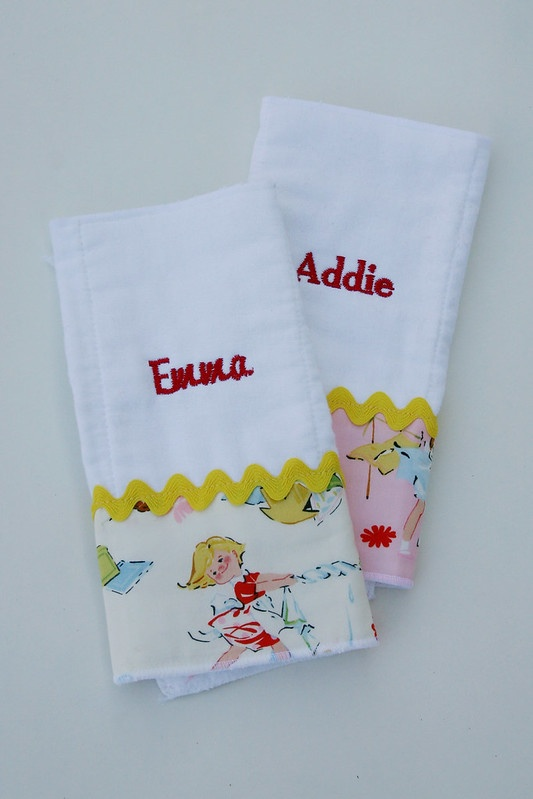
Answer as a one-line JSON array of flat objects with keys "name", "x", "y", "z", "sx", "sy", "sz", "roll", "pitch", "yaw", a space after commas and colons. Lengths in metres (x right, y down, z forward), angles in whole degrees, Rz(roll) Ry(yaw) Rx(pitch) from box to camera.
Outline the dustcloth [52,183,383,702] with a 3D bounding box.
[{"name": "dustcloth", "x": -0.065, "y": 0.033, "z": 0.886, "sx": 0.259, "sy": 0.474, "sz": 0.291, "roll": -8, "pitch": 24, "yaw": -12}]

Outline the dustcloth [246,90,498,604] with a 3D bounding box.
[{"name": "dustcloth", "x": 0.100, "y": -0.056, "z": 0.907, "sx": 0.323, "sy": 0.491, "sz": 0.122, "roll": 8, "pitch": -6, "yaw": -4}]
